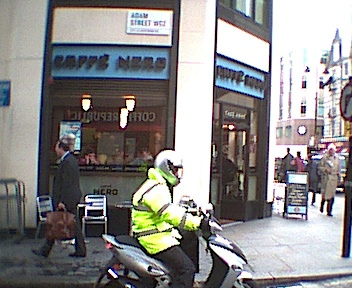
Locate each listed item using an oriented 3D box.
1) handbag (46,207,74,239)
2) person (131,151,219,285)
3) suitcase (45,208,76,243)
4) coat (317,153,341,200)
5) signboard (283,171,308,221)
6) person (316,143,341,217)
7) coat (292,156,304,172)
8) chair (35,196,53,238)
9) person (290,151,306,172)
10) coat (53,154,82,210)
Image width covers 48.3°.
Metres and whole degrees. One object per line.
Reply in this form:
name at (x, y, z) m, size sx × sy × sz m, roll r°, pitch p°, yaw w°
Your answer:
handbag at (-2.171, 1.499, 7.375) m, size 0.539 × 0.664 × 0.250 m, roll 1°, pitch -6°, yaw -6°
person at (-0.115, 0.924, 5.094) m, size 0.907 × 1.639 × 0.625 m, roll 2°, pitch 2°, yaw 4°
suitcase at (-2.196, 1.499, 7.471) m, size 0.523 × 0.713 × 0.333 m, roll 3°, pitch -11°, yaw -7°
coat at (5.217, 1.106, 13.456) m, size 0.708 × 1.624 × 0.590 m, roll 3°, pitch 2°, yaw 24°
signboard at (4.153, 1.698, 13.018) m, size 0.812 × 1.687 × 0.891 m, roll 1°, pitch -1°, yaw 31°
person at (5.271, 1.225, 13.575) m, size 0.734 × 2.435 × 0.851 m, roll 3°, pitch 2°, yaw 23°
coat at (4.943, 0.826, 15.998) m, size 0.512 × 0.628 × 0.145 m, roll 3°, pitch 4°, yaw 18°
chair at (-3.095, 1.706, 9.196) m, size 0.375 × 0.982 × 0.811 m, roll 2°, pitch 2°, yaw -14°
person at (6.588, 0.878, 21.092) m, size 1.015 × 1.338 × 0.448 m, roll 1°, pitch 2°, yaw 34°
coat at (-2.135, 0.732, 7.721) m, size 0.532 × 1.069 × 0.357 m, roll 2°, pitch 2°, yaw -15°
